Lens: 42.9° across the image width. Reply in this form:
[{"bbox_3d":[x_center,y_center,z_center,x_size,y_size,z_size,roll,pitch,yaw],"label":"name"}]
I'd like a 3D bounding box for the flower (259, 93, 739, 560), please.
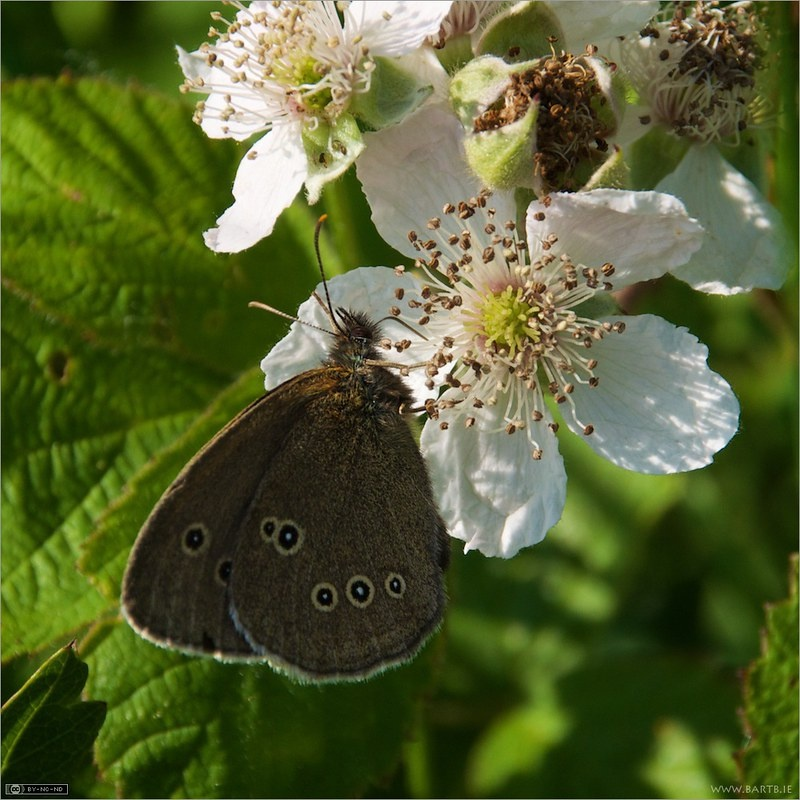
[{"bbox_3d":[0.168,-0.113,1.722,0.785,0.476,0.575,42,75,13],"label":"flower"}]
